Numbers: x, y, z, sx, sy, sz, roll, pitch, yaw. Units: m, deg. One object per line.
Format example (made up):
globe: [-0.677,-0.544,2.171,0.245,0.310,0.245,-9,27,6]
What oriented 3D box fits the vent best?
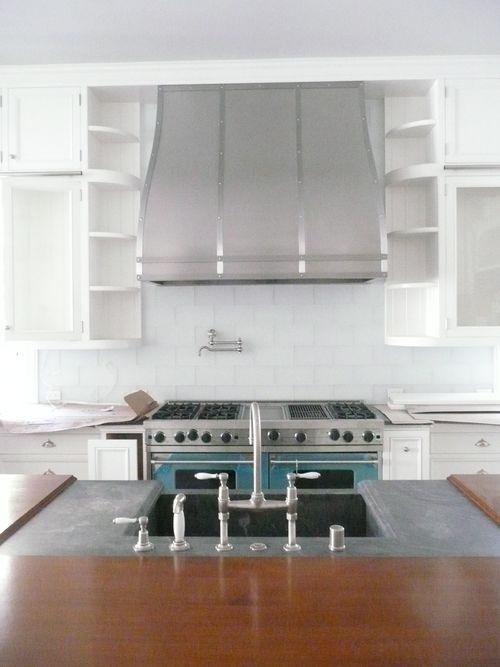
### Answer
vent: [0.060,-0.792,3.845,1.287,0.908,0.440,0,-3,0]

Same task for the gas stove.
gas stove: [0.090,0.488,3.936,1.224,0.162,0.691,-1,6,3]

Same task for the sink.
sink: [0.038,0.636,2.426,0.727,0.166,0.238,-1,6,2]
